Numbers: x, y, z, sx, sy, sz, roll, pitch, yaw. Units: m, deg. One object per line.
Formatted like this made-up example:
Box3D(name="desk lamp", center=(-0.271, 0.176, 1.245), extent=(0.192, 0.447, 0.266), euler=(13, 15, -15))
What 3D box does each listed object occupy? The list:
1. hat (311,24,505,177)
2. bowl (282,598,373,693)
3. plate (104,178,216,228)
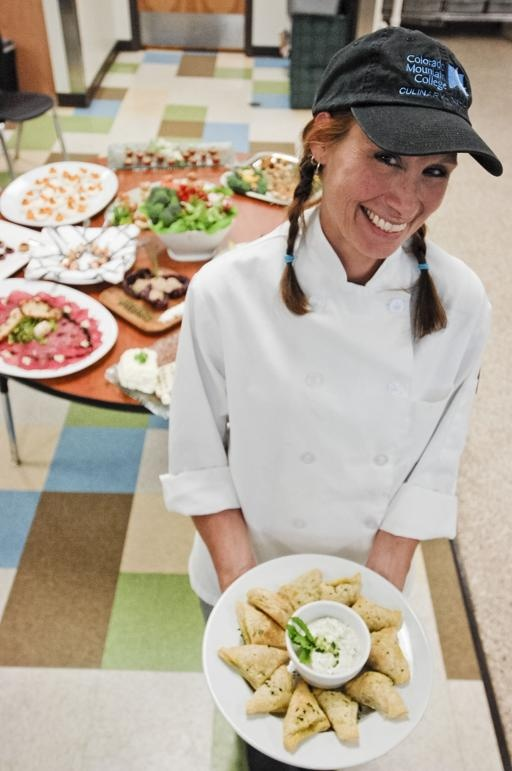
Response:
Box3D(name="hat", center=(0.222, -0.421, 0.917), extent=(0.214, 0.161, 0.328), euler=(1, 25, -29))
Box3D(name="bowl", center=(0.097, 0.370, 0.891), extent=(0.122, 0.081, 0.121), euler=(4, 36, -3))
Box3D(name="plate", center=(-0.357, -0.624, 2.208), extent=(0.307, 0.070, 0.284), euler=(-2, 51, 0))
